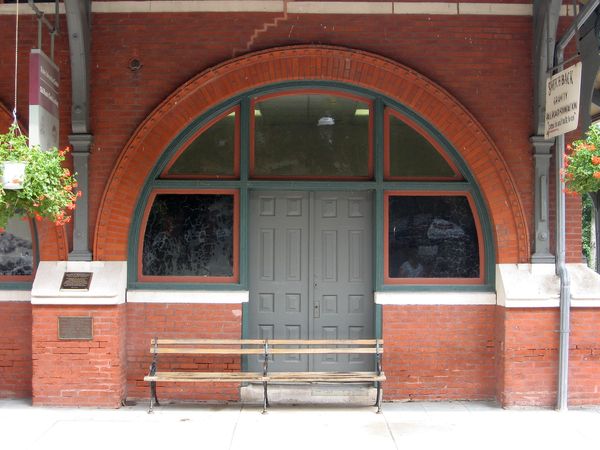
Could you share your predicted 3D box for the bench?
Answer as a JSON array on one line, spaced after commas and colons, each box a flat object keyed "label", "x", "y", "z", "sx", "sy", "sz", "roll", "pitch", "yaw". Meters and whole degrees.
[{"label": "bench", "x": -0.478, "y": 2.110, "z": 10.242, "sx": 3.338, "sy": 1.045, "sz": 0.875, "roll": 1, "pitch": -8, "yaw": -1}]
